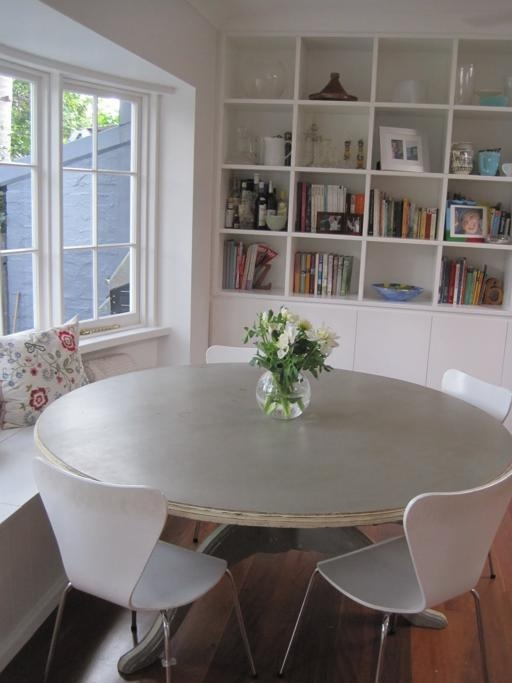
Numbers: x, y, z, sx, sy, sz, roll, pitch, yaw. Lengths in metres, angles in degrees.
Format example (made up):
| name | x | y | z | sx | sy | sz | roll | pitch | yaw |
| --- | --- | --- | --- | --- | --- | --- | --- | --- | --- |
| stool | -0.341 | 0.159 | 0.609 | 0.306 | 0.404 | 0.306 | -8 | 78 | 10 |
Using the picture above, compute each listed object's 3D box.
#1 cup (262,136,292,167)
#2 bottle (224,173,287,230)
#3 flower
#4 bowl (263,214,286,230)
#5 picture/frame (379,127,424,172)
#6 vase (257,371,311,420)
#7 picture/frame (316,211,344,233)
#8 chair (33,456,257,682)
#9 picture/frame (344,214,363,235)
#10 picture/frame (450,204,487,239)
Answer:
| name | x | y | z | sx | sy | sz | roll | pitch | yaw |
| --- | --- | --- | --- | --- | --- | --- | --- | --- | --- |
| cup | 0.140 | -1.229 | 3.404 | 0.168 | 0.213 | 0.151 | 0 | 9 | -12 |
| bottle | -0.011 | -0.936 | 3.548 | 0.391 | 0.390 | 0.188 | 0 | 9 | -10 |
| flower | 0.096 | 0.022 | 1.509 | 0.289 | 0.218 | 0.298 | 2 | 17 | -1 |
| bowl | 0.137 | -0.788 | 3.523 | 0.117 | 0.086 | 0.119 | 0 | 9 | 0 |
| picture/frame | 0.912 | -1.205 | 3.312 | 0.298 | 0.307 | 0.010 | 4 | -13 | -10 |
| vase | 0.088 | 0.152 | 1.591 | 0.139 | 0.139 | 0.142 | 0 | 2 | -3 |
| picture/frame | 0.487 | -0.777 | 3.409 | 0.141 | 0.126 | 0.019 | 1 | 6 | 7 |
| chair | -0.273 | 0.566 | 1.264 | 0.388 | 0.604 | 0.393 | 16 | 29 | 26 |
| picture/frame | 0.627 | -0.759 | 3.383 | 0.131 | 0.157 | 0.016 | 4 | 15 | 13 |
| picture/frame | 1.325 | -0.749 | 3.280 | 0.211 | 0.216 | 0.014 | 0 | 0 | 0 |
